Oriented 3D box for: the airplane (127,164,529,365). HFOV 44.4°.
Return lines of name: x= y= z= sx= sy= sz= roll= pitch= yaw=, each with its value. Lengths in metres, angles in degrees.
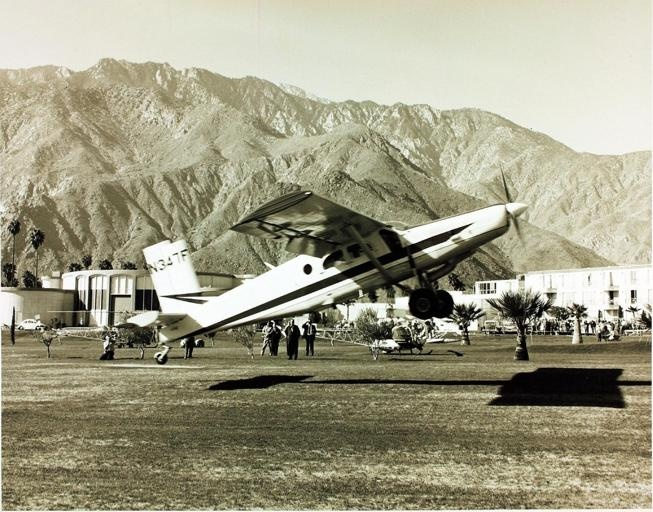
airplane: x=0.027 y=0.507 z=25.680 sx=12.569 sy=3.742 sz=13.812 roll=-15 pitch=-9 yaw=23
